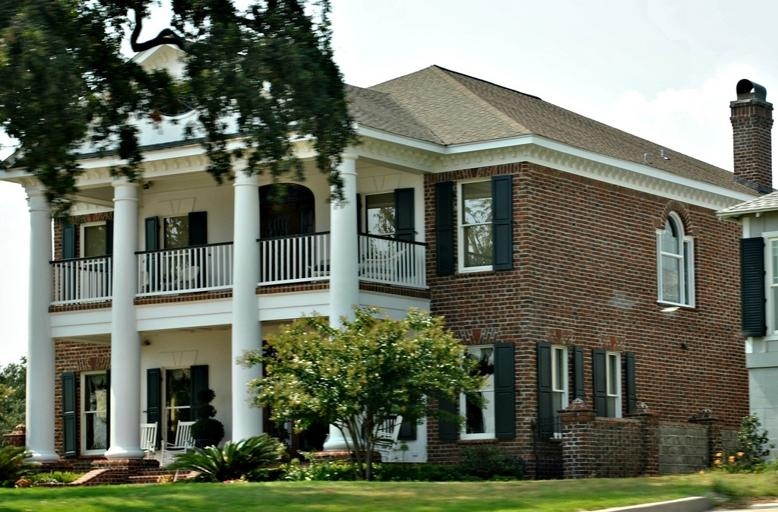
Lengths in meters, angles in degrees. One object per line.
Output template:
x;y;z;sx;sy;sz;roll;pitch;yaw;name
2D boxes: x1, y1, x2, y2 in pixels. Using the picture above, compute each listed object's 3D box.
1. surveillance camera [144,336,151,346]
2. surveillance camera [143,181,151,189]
-6.990;2.466;48.419;0.297;0.191;0.248;0;-3;-11;surveillance camera
-6.705;-2.007;46.476;0.232;0.218;0.254;6;0;3;surveillance camera
